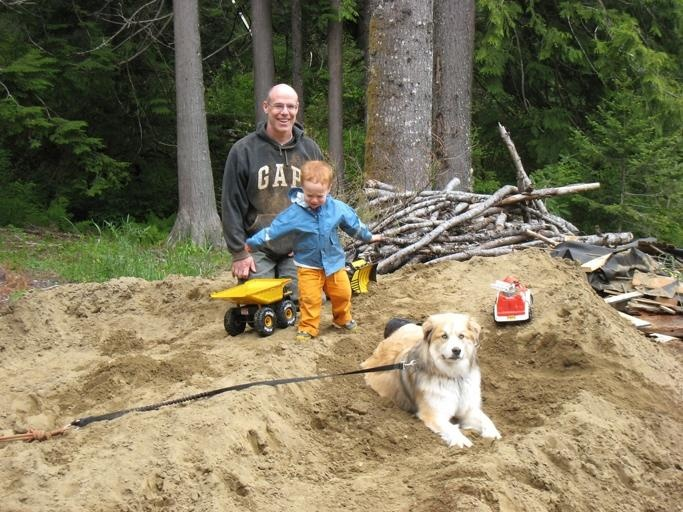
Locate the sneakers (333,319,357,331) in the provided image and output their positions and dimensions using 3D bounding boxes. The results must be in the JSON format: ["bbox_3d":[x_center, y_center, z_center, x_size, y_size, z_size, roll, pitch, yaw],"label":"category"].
[{"bbox_3d":[0.021,0.900,9.310,0.257,0.142,0.133,-4,11,10],"label":"sneakers"}]

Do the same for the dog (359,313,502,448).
[{"bbox_3d":[0.920,1.162,8.427,0.977,1.242,2.719,-1,6,-16],"label":"dog"}]
